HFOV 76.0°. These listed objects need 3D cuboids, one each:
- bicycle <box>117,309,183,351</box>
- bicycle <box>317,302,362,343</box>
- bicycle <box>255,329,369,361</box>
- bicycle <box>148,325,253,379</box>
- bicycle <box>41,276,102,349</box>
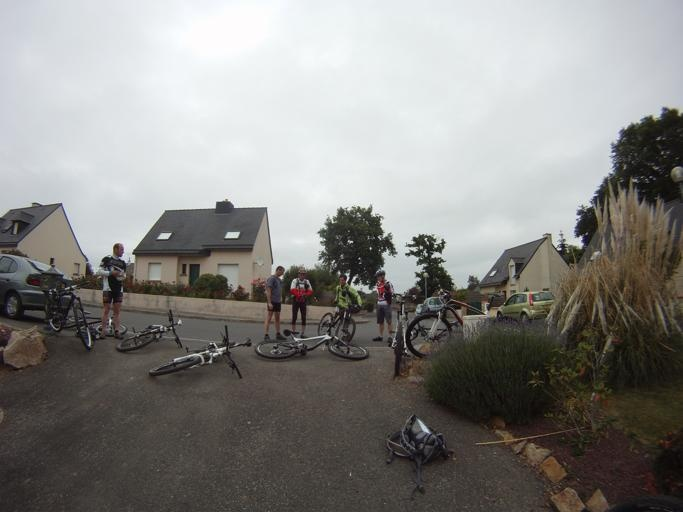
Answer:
[{"bbox_3d":[-4.585,1.833,10.194,1.067,1.138,1.746,-4,-1,-42],"label":"bicycle"},{"bbox_3d":[-0.105,1.598,11.405,1.218,0.835,0.553,-13,-37,32],"label":"bicycle"},{"bbox_3d":[-0.718,2.097,9.997,1.912,1.113,1.276,3,-10,-5],"label":"bicycle"},{"bbox_3d":[-2.727,1.949,8.483,0.878,1.026,1.504,-7,7,25],"label":"bicycle"},{"bbox_3d":[-6.410,1.246,10.202,0.784,1.055,1.629,17,-13,-35],"label":"bicycle"}]
